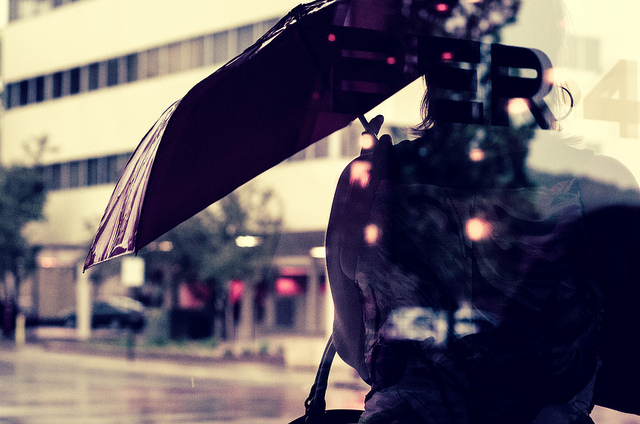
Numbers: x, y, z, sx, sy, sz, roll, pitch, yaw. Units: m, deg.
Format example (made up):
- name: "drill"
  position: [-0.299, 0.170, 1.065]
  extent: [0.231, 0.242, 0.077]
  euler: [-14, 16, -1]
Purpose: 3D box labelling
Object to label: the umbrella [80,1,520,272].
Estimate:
- name: "umbrella"
  position: [-0.372, -1.193, 25.149]
  extent: [5.183, 5.606, 5.247]
  euler: [2, 22, 12]
